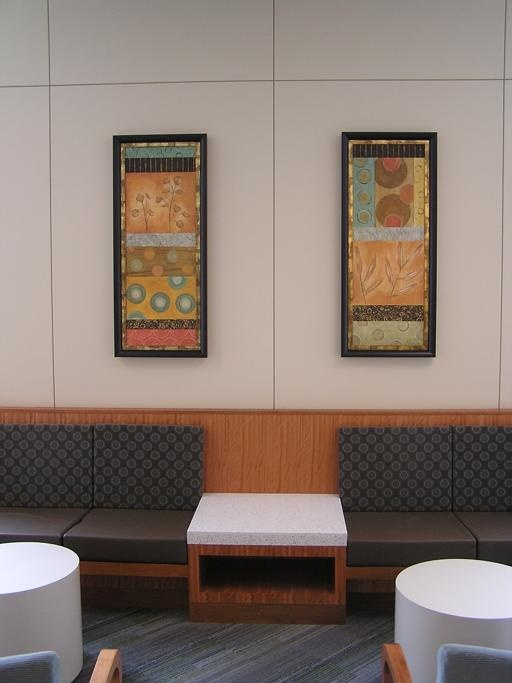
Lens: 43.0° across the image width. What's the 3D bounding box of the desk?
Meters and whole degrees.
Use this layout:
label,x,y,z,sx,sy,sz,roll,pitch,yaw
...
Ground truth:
label,x,y,z,sx,sy,sz,roll,pitch,yaw
desk,0.056,1.097,3.332,0.758,0.455,0.494,0,9,3
